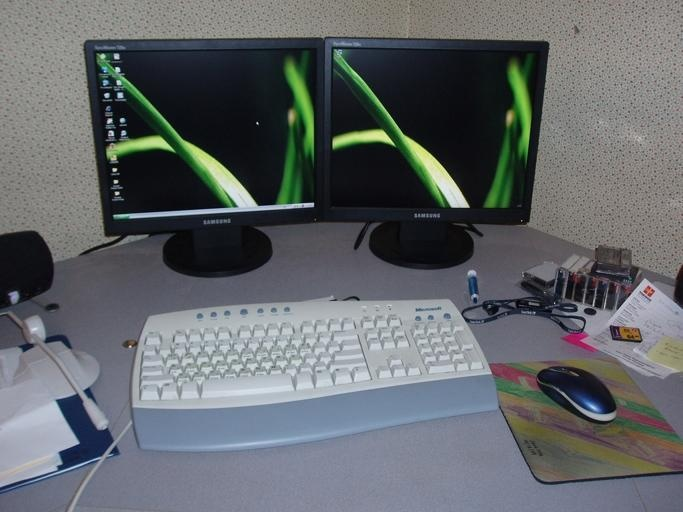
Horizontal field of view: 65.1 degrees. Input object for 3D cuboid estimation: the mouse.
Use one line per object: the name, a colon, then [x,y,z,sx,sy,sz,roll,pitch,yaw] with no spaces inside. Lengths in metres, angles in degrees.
mouse: [0.391,0.215,0.896,0.064,0.041,0.112,-10,32,-23]

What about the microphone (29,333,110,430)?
microphone: [-0.458,0.214,0.895,0.022,0.021,0.205,-5,37,-44]

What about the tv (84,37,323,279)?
tv: [-0.281,-0.232,1.213,0.507,0.506,0.260,-7,35,-21]
